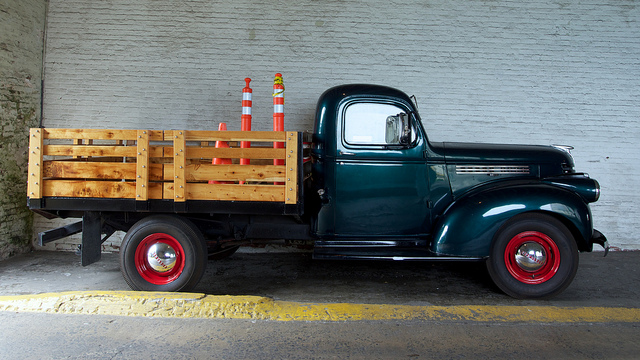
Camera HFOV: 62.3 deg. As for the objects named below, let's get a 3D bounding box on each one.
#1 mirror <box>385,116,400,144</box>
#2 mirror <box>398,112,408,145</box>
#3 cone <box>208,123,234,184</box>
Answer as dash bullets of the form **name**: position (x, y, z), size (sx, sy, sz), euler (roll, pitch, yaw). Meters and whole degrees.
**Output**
- **mirror**: position (1.269, -0.915, 9.606), size (0.253, 0.503, 0.101), euler (-1, 5, 4)
- **mirror**: position (1.457, -0.926, 9.537), size (0.174, 0.554, 0.074), euler (-1, 5, 8)
- **cone**: position (-1.837, -0.492, 9.614), size (0.456, 1.123, 0.793), euler (-3, 5, -10)
